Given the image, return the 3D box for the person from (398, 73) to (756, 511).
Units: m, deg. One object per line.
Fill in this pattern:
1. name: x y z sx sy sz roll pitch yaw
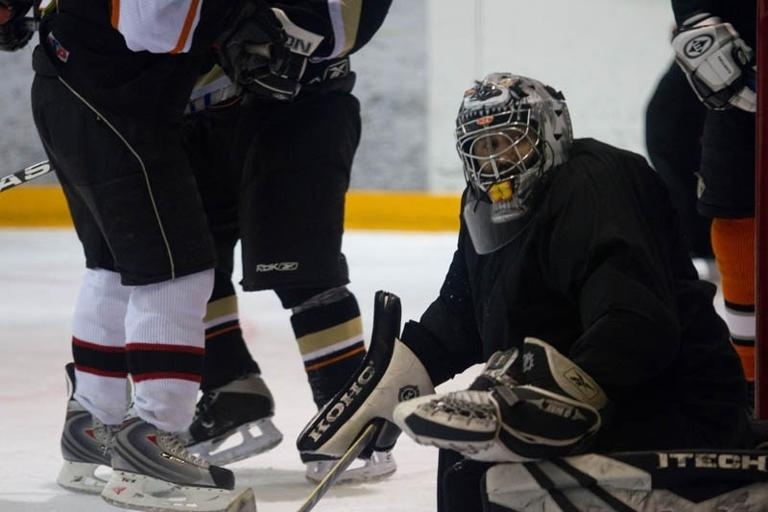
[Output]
1. person: 0.194 0.207 3.008 1.189 1.346 0.887 2 -11 -10

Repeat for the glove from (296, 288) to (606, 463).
1. glove: 0.148 0.356 2.534 0.644 0.300 0.440 -10 -3 -3

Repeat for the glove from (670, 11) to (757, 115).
1. glove: 0.888 -0.511 2.558 0.190 0.264 0.114 -38 6 38

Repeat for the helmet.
1. helmet: 0.348 -0.336 2.582 0.271 0.281 0.334 -4 4 45
